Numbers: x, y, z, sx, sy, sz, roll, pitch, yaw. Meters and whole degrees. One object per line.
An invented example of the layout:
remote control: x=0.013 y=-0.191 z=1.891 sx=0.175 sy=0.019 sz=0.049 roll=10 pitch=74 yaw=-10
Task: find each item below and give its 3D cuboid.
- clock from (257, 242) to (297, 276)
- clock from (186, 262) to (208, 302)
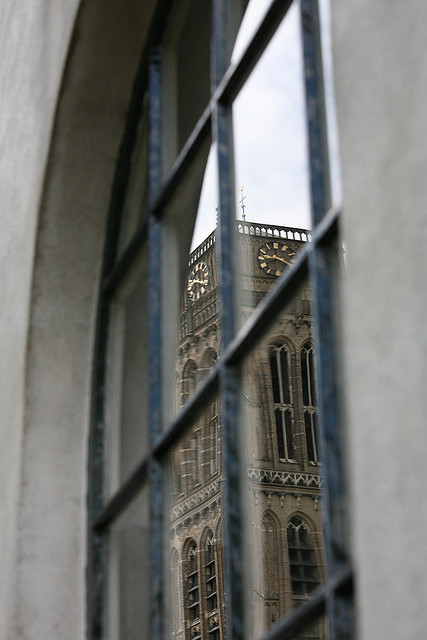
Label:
clock: x=0.076 y=-0.077 z=1.902 sx=0.039 sy=0.046 sz=0.006 roll=3 pitch=-24 yaw=-10
clock: x=-0.022 y=-0.059 z=2.297 sx=0.004 sy=0.057 sz=0.054 roll=14 pitch=26 yaw=30
